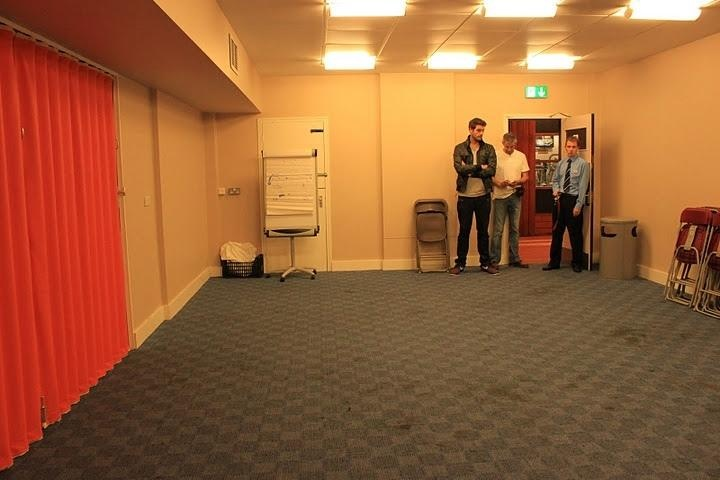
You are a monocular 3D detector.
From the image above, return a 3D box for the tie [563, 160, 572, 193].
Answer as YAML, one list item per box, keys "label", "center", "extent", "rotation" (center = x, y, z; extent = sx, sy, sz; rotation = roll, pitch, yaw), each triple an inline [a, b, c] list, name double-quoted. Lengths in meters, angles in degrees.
- label: "tie"
  center: [3.527, -1.092, 8.573]
  extent: [0.145, 0.561, 0.124]
  rotation: [10, 17, 39]

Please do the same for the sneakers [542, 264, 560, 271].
- label: "sneakers"
  center: [3.287, 0.462, 8.759]
  extent: [0.312, 0.130, 0.115]
  rotation: [1, 0, -7]

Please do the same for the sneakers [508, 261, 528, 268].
- label: "sneakers"
  center: [2.819, 0.424, 9.020]
  extent: [0.358, 0.151, 0.122]
  rotation: [-1, 2, 22]

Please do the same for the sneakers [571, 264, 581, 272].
- label: "sneakers"
  center: [3.658, 0.464, 8.573]
  extent: [0.131, 0.151, 0.389]
  rotation: [-1, 1, 12]

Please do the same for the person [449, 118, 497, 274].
- label: "person"
  center: [1.937, -0.607, 8.527]
  extent: [0.743, 2.325, 0.663]
  rotation: [1, 14, 10]

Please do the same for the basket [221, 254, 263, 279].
- label: "basket"
  center: [-2.017, 0.439, 8.774]
  extent: [0.534, 0.322, 0.401]
  rotation: [1, 5, -3]

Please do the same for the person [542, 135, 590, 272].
- label: "person"
  center: [3.546, -0.620, 8.619]
  extent: [0.624, 2.221, 0.641]
  rotation: [5, 15, 24]
